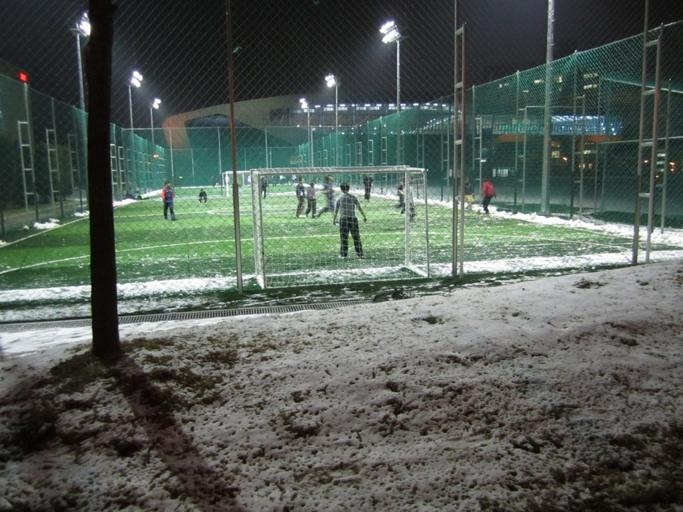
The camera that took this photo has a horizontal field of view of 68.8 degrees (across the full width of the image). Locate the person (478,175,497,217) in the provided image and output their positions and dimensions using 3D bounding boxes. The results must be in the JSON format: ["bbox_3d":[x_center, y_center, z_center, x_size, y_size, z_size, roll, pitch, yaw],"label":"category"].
[{"bbox_3d":[6.154,-2.507,20.941,0.582,1.438,1.169,-2,11,17],"label":"person"}]

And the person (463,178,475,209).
[{"bbox_3d":[5.704,-2.736,22.208,0.384,1.359,1.066,-2,11,17],"label":"person"}]
